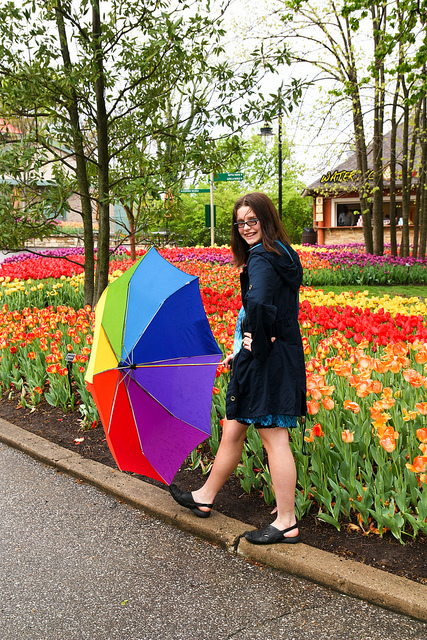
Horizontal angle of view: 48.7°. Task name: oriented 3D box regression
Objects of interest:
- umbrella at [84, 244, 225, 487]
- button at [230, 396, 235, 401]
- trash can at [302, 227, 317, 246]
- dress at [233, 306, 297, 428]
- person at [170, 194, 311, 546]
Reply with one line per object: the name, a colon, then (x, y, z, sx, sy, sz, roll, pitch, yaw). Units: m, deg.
umbrella: (-0.314, 0.244, 2.487, 0.275, 1.262, 0.824, -1, 7, 44)
button: (0.081, 0.333, 2.014, 0.023, 0.023, 0.008, -5, -2, 0)
trash can: (6.673, -5.894, 33.107, 1.269, 1.569, 1.204, 0, -1, 2)
dress: (0.171, 0.215, 2.103, 0.248, 0.542, 0.413, -8, 6, -24)
person: (0.148, 0.243, 2.240, 0.656, 1.597, 0.836, -6, 5, 4)
